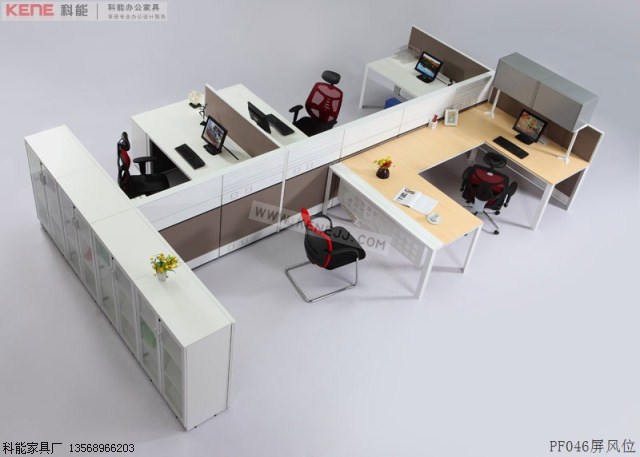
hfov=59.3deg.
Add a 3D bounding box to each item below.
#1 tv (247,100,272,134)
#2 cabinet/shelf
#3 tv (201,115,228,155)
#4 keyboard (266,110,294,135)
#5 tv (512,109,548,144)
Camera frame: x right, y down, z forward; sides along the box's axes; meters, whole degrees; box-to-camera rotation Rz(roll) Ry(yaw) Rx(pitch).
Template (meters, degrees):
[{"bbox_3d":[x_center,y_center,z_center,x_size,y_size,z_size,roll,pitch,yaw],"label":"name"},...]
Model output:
[{"bbox_3d":[-0.807,-1.444,7.338,0.281,0.296,0.422,-23,46,-27],"label":"tv"},{"bbox_3d":[-2.067,0.634,6.057,0.552,1.283,3.311,-20,53,-31],"label":"cabinet/shelf"},{"bbox_3d":[-1.369,-1.196,7.281,0.142,0.380,0.403,-22,62,-41],"label":"tv"},{"bbox_3d":[-0.543,-1.379,7.518,0.255,0.104,0.525,-23,49,-31],"label":"keyboard"},{"bbox_3d":[3.031,-1.452,8.079,0.197,0.353,0.364,-32,58,-32],"label":"tv"}]
